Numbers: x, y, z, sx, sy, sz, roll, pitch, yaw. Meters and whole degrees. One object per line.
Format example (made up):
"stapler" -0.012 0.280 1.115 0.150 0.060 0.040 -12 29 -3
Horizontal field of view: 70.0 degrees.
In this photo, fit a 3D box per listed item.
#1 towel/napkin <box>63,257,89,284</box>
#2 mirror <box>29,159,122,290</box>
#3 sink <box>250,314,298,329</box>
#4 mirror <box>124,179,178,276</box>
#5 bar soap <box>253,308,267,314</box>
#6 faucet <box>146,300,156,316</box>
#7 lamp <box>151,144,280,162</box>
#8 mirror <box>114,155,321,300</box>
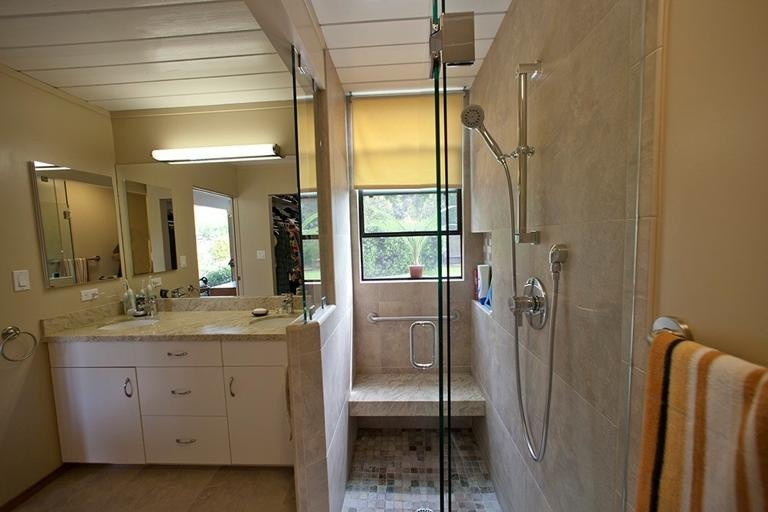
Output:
"towel/napkin" -2.215 0.101 3.935 0.027 0.208 0.173 -1 3 26
"mirror" -2.233 -0.224 3.935 0.043 1.168 0.827 3 8 24
"sink" -0.814 0.481 4.063 0.360 0.085 0.151 -5 4 -16
"mirror" -1.853 -0.180 4.273 0.271 0.630 0.025 -1 -15 46
"bar soap" -0.927 0.415 4.133 0.107 0.036 0.070 -5 4 -15
"faucet" -1.782 0.395 4.221 0.089 0.123 0.128 -5 4 -24
"lamp" -1.284 -0.801 4.141 0.766 0.140 0.091 -2 12 4
"mirror" -1.247 -0.247 4.144 1.025 0.975 0.350 -1 2 -1
